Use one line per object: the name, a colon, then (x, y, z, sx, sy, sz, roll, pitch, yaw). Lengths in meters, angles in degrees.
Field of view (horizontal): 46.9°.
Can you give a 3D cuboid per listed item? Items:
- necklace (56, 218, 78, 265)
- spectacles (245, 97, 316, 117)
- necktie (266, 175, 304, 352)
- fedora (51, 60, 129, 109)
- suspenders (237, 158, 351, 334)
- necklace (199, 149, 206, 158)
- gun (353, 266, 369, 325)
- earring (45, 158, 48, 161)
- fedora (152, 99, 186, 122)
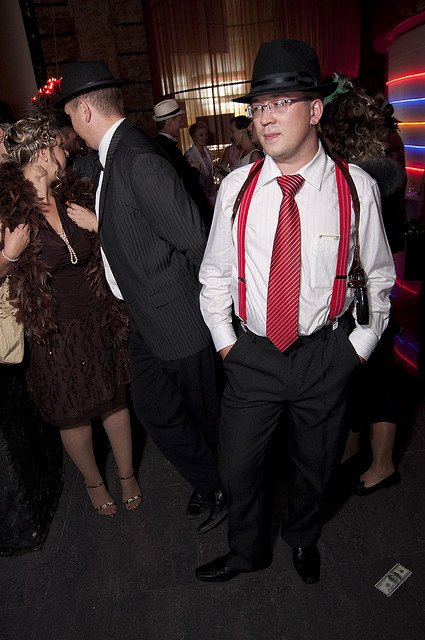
necklace: (-0.524, -0.273, 1.760, 0.037, 0.147, 0.052, -28, 35, -29)
spectacles: (0.151, -0.539, 1.211, 0.186, 0.049, 0.085, 6, 28, 20)
necktie: (0.182, -0.151, 1.249, 0.096, 0.465, 0.030, 6, -7, -20)
fedora: (-0.437, -0.831, 1.722, 0.275, 0.143, 0.214, -15, 31, -12)
suspenders: (0.279, -0.184, 1.361, 0.279, 0.491, 0.110, 2, 5, 5)
necklace: (-0.109, -1.975, 5.796, 0.050, 0.064, 0.162, -1, 31, 13)
gun: (0.391, -0.062, 1.289, 0.033, 0.144, 0.074, -2, 8, -3)
earring: (-0.577, -0.562, 1.707, 0.004, 0.010, 0.009, 21, 41, 40)
fedora: (-0.444, -2.085, 4.851, 0.312, 0.121, 0.284, -9, 35, 16)
